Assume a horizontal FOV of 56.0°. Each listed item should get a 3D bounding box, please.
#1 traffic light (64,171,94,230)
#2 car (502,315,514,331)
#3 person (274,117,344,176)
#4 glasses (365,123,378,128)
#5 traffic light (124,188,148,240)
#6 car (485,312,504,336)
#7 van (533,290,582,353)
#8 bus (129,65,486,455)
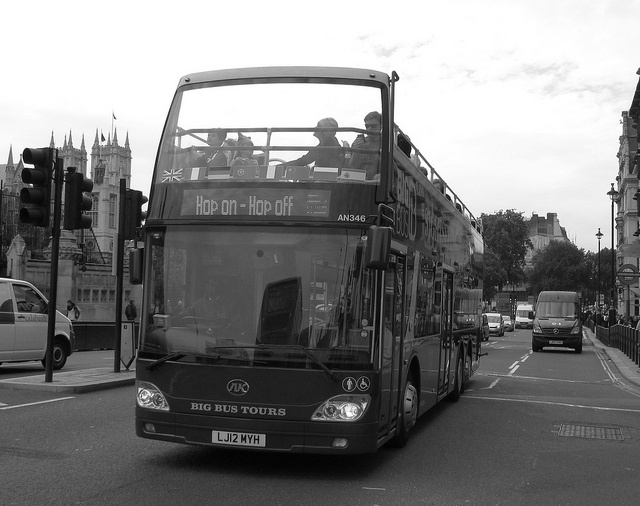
[{"bbox_3d":[-4.967,-1.138,12.329,0.553,1.350,1.350,3,-5,-24],"label":"traffic light"},{"bbox_3d":[20.582,7.594,65.703,1.435,1.419,2.669,-4,-10,11],"label":"car"},{"bbox_3d":[-0.106,-1.205,6.677,0.718,0.641,0.405,3,18,5],"label":"person"},{"bbox_3d":[0.579,-1.435,6.777,0.070,0.028,0.081,-1,-8,19],"label":"glasses"},{"bbox_3d":[-3.984,-0.777,13.327,0.462,1.085,0.461,2,4,-43],"label":"traffic light"},{"bbox_3d":[15.486,6.312,53.087,1.497,1.487,2.938,-3,-10,15],"label":"car"},{"bbox_3d":[12.781,3.736,32.540,2.570,3.296,1.759,1,-4,8],"label":"van"},{"bbox_3d":[1.019,0.367,10.948,2.770,4.545,10.361,-1,-5,21],"label":"bus"}]
